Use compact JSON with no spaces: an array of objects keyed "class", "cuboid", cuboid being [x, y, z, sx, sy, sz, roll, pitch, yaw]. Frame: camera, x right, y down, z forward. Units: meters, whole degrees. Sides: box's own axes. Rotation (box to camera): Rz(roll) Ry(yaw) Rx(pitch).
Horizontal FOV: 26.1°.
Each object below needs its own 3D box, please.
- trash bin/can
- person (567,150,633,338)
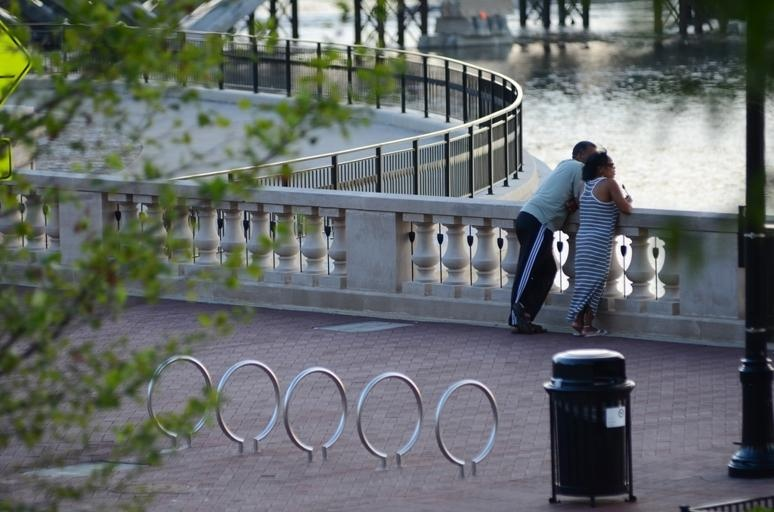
[{"class":"trash bin/can","cuboid":[1.368,1.167,11.310,0.587,0.976,0.366,-1,12,3]},{"class":"person","cuboid":[1.935,-0.049,15.479,0.593,1.719,0.615,2,12,17]}]
